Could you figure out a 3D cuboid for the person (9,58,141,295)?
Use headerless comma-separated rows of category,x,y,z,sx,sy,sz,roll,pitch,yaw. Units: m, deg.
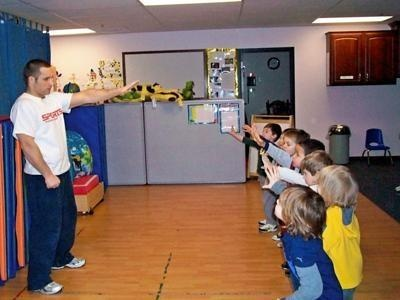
person,-1.337,0.203,3.080,0.428,1.974,0.760,2,12,14

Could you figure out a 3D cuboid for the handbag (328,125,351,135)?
handbag,2.956,-0.421,7.223,0.279,0.142,0.275,-1,9,-10

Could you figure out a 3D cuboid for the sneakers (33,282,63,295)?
sneakers,-1.313,1.193,2.924,0.208,0.092,0.095,-1,4,-4

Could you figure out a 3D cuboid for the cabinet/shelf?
cabinet/shelf,3.401,-1.929,7.086,1.108,0.797,0.426,0,4,5

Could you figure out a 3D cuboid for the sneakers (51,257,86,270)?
sneakers,-1.292,1.110,3.325,0.287,0.120,0.103,-7,7,-13
